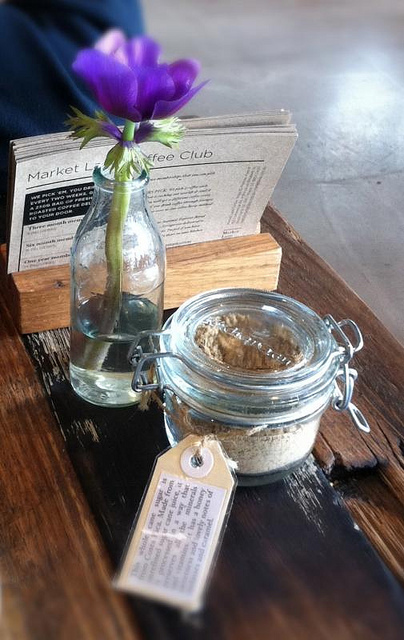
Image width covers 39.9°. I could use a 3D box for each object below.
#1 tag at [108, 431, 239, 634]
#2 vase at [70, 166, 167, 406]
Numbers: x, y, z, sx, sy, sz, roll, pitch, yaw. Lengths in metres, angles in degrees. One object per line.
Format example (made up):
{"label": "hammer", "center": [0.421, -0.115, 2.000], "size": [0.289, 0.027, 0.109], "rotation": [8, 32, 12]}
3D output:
{"label": "tag", "center": [-0.011, 0.111, 0.298], "size": [0.064, 0.034, 0.098], "rotation": [14, 67, 8]}
{"label": "vase", "center": [-0.068, -0.021, 0.427], "size": [0.079, 0.166, 0.073], "rotation": [-19, 56, -30]}
